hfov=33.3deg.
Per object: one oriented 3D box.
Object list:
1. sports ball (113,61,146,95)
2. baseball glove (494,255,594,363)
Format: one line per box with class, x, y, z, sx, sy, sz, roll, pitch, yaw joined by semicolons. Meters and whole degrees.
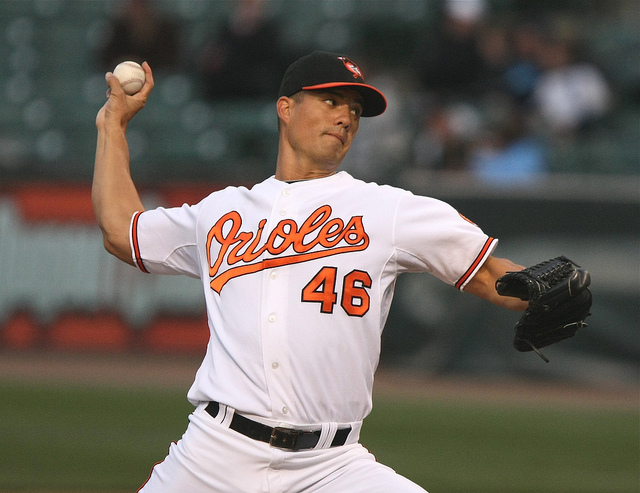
sports ball;-1.125;-1.023;6.349;0.221;0.213;0.214;-5;2;0
baseball glove;1.158;0.249;5.770;0.640;0.593;0.445;-4;7;-24
